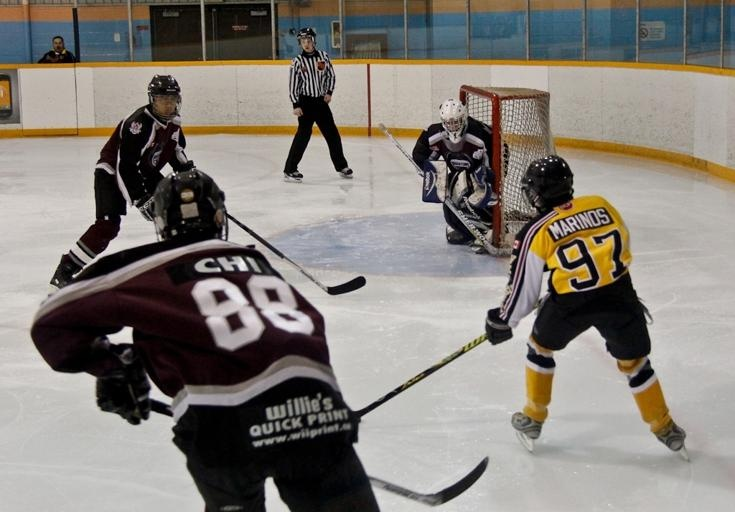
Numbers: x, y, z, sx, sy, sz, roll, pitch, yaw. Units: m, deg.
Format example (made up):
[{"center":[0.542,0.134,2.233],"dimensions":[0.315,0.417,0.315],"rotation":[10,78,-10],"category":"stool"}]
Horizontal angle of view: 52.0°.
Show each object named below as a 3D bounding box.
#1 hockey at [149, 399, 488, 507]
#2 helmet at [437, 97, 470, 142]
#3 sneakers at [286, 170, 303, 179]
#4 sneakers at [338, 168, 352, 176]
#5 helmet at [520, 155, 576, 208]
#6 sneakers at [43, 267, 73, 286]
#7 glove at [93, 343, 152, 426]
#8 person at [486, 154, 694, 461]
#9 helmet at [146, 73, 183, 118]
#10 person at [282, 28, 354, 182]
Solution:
[{"center":[-0.172,0.677,2.731],"dimensions":[1.321,0.111,0.433],"rotation":[1,18,42],"category":"hockey"},{"center":[0.594,-0.907,5.159],"dimensions":[0.184,0.293,0.223],"rotation":[0,13,6],"category":"helmet"},{"center":[-0.766,-0.836,7.917],"dimensions":[0.163,0.103,0.084],"rotation":[-4,52,1],"category":"sneakers"},{"center":[-0.232,-0.883,8.030],"dimensions":[0.062,0.056,0.132],"rotation":[-7,8,-39],"category":"sneakers"},{"center":[0.679,-0.277,2.940],"dimensions":[0.187,0.193,0.204],"rotation":[-13,19,-10],"category":"helmet"},{"center":[-1.830,0.131,4.467],"dimensions":[0.110,0.066,0.035],"rotation":[-41,27,15],"category":"sneakers"},{"center":[-0.665,0.342,2.095],"dimensions":[0.136,0.228,0.058],"rotation":[-11,18,7],"category":"glove"},{"center":[0.824,0.205,2.881],"dimensions":[0.732,1.131,0.273],"rotation":[0,14,7],"category":"person"},{"center":[-1.233,-0.960,4.520],"dimensions":[0.216,0.253,0.266],"rotation":[-9,29,-23],"category":"helmet"},{"center":[-0.547,-1.642,8.127],"dimensions":[0.722,1.592,0.866],"rotation":[-2,13,-2],"category":"person"}]
